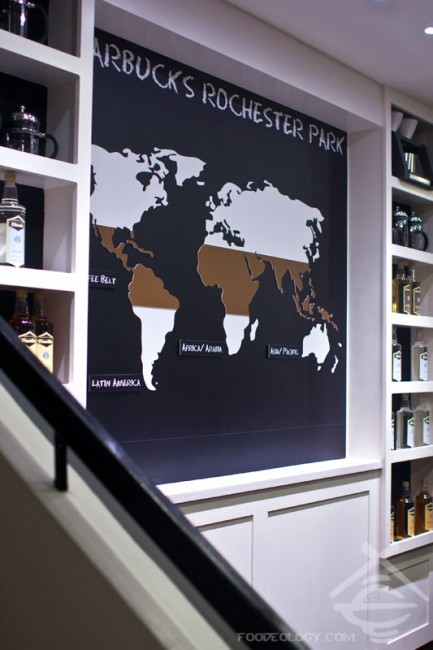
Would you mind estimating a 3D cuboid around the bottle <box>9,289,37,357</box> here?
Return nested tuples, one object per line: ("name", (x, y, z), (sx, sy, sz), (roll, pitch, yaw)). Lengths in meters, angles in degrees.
("bottle", (-0.548, 0.007, 1.564), (0.059, 0.196, 0.060), (-5, -1, 0))
